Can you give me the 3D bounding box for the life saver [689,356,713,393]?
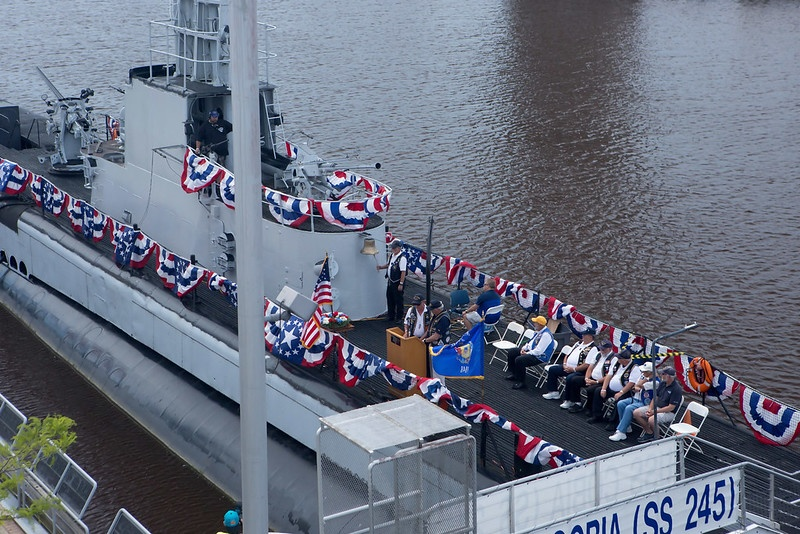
[{"bbox_3d":[10.598,3.848,47.936,0.441,1.181,0.921,-10,26,-28],"label":"life saver"}]
